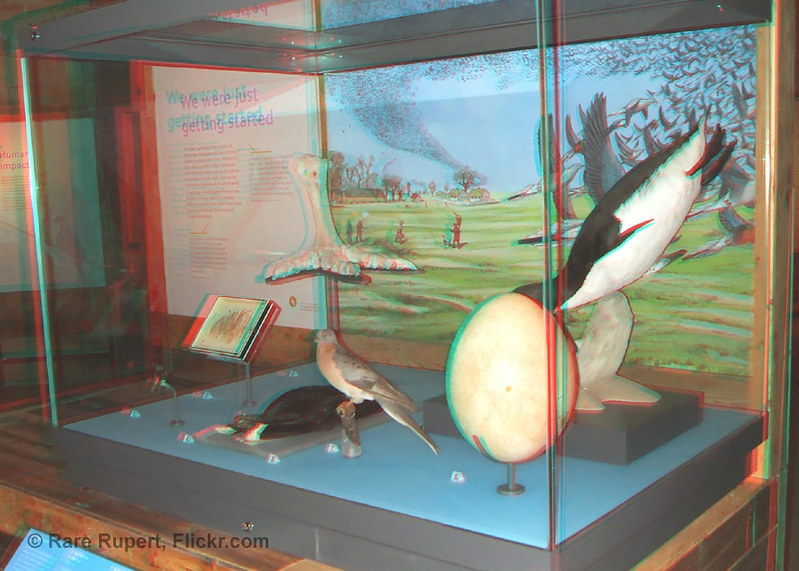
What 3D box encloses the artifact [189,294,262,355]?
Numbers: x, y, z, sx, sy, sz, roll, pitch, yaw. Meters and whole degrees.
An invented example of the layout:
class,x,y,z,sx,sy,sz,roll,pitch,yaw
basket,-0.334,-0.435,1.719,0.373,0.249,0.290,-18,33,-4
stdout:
class,x,y,z,sx,sy,sz,roll,pitch,yaw
artifact,-0.475,0.119,1.801,0.297,0.221,0.059,-3,-27,38
